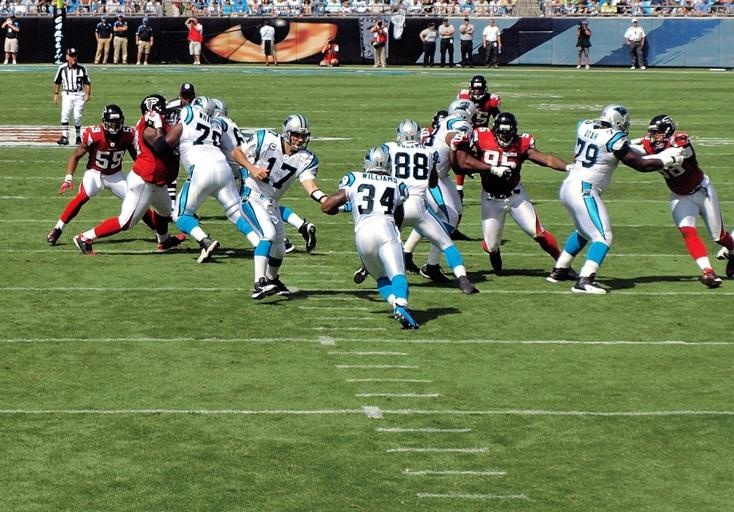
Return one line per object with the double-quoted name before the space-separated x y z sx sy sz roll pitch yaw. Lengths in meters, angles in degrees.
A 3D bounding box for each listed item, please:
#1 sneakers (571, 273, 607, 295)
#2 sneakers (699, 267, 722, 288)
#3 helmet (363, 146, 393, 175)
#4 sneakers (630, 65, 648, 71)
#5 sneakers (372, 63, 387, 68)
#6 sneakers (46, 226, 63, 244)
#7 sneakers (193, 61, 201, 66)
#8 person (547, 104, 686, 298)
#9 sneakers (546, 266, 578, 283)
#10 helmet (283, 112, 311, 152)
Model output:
"sneakers" 2.471 0.335 12.523 0.484 0.232 0.166 1 8 3
"sneakers" 3.884 0.258 12.674 0.140 0.142 0.306 -22 -14 0
"helmet" 0.119 -0.981 11.532 0.263 0.283 0.376 0 7 2
"sneakers" 9.821 -6.830 40.642 0.444 0.144 0.294 4 7 30
"sneakers" 0.499 -7.015 41.230 0.567 0.200 0.172 2 37 6
"sneakers" -3.913 -0.235 14.097 0.141 0.121 0.301 6 -13 -19
"sneakers" -6.229 -7.172 41.592 0.172 0.126 0.362 12 9 -12
"person" 2.686 -0.628 12.616 1.273 2.093 0.607 1 7 10
"sneakers" 2.295 0.210 13.012 0.434 0.140 0.172 -1 -28 -25
"helmet" -0.700 -1.355 11.964 0.297 0.302 0.390 -1 24 -22
